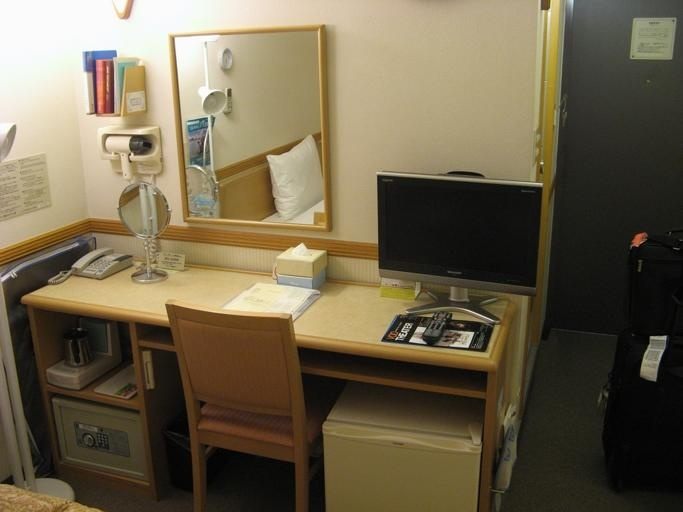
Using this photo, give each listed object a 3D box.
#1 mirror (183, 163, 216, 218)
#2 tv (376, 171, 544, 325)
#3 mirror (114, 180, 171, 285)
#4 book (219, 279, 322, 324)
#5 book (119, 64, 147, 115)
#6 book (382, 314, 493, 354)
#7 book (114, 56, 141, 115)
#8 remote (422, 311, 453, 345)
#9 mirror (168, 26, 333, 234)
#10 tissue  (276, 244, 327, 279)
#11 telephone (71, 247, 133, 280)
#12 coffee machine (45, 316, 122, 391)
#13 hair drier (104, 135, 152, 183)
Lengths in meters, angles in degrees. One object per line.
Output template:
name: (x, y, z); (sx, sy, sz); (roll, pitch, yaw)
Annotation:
mirror: (-0.716, -0.335, 2.744); (0.047, 0.248, 0.179); (7, 16, 18)
tv: (0.480, -0.051, 2.242); (0.660, 0.556, 0.052); (3, 14, 17)
mirror: (-0.965, -0.097, 2.696); (0.252, 0.544, 0.112); (11, 21, 20)
book: (-0.294, 0.197, 2.343); (0.447, 0.029, 0.556); (5, 15, 24)
book: (-1.026, -0.828, 2.653); (0.032, 0.233, 0.201); (12, 24, 13)
book: (0.387, 0.308, 2.130); (0.370, 0.034, 0.304); (7, 14, 24)
book: (-1.047, -0.835, 2.634); (0.039, 0.298, 0.228); (10, 17, 9)
remote: (0.389, 0.280, 2.168); (0.073, 0.053, 0.226); (2, 19, 24)
mirror: (-0.439, -0.607, 2.605); (0.800, 0.915, 0.117); (4, 20, 16)
tissue : (-0.192, 0.023, 2.562); (0.174, 0.111, 0.175); (5, 19, 19)
telephone: (-1.219, 0.017, 2.830); (0.250, 0.149, 0.244); (5, 16, 5)
coffee machine: (-1.283, 0.500, 2.717); (0.268, 0.345, 0.212); (12, 19, 15)
hair drier: (-1.100, -0.514, 2.796); (0.258, 0.226, 0.074); (5, 21, 19)
